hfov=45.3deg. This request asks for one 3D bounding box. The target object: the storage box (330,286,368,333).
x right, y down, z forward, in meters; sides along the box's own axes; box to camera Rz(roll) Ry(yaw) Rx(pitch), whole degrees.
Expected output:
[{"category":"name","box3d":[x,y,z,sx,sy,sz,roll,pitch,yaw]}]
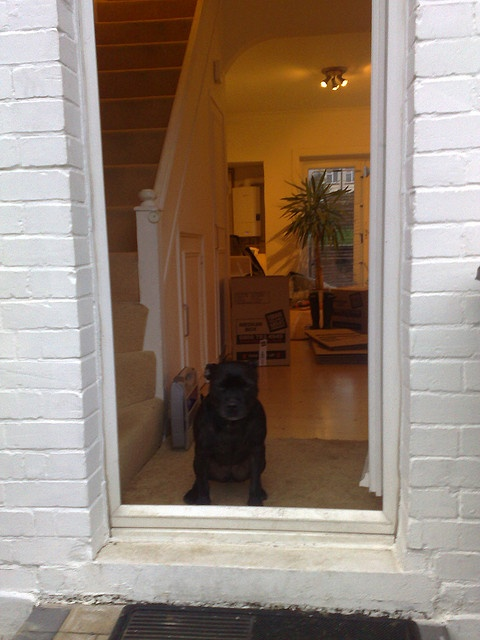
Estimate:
[{"category":"storage box","box3d":[0.857,-0.054,5.077,0.466,0.394,0.248,2,-2,-33]}]

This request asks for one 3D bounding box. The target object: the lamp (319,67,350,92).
[{"category":"lamp","box3d":[0.909,-2.297,5.503,0.261,0.153,0.250,-1,-1,1]}]

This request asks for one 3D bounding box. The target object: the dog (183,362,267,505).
[{"category":"dog","box3d":[-0.055,0.359,1.847,0.278,0.487,0.302,-3,8,-1]}]

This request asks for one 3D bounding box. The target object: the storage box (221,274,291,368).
[{"category":"storage box","box3d":[0.125,-0.001,4.399,0.485,0.642,0.409,-1,4,-5]}]
